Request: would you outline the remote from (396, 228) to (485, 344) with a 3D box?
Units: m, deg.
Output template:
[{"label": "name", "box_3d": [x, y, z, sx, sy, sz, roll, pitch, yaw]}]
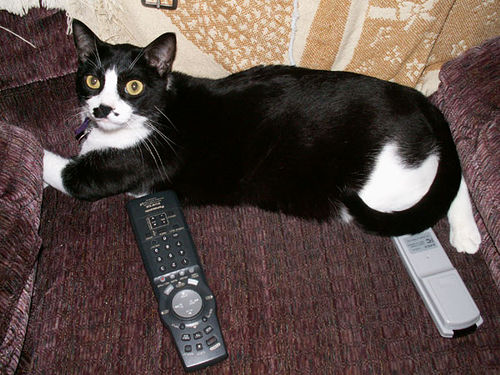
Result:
[{"label": "remote", "box_3d": [0.448, 0.233, 1.089, 0.101, 0.068, 0.305, -15, 61, -1]}]

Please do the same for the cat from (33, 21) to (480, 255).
[{"label": "cat", "box_3d": [-0.127, -0.203, 1.375, 1.425, 0.595, 0.490, 6, 54, 10]}]
